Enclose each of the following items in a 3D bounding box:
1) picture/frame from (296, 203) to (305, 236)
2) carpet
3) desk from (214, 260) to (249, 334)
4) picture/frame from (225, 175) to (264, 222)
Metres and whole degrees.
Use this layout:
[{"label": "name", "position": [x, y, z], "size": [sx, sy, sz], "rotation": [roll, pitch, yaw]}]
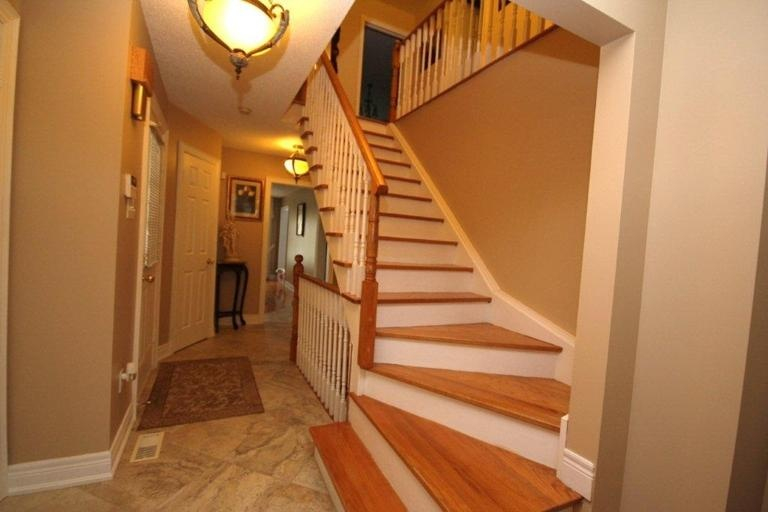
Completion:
[{"label": "picture/frame", "position": [-1.517, -0.658, 9.868], "size": [0.047, 0.676, 0.637], "rotation": [3, -2, -16]}, {"label": "carpet", "position": [-1.573, 1.170, 4.698], "size": [0.936, 0.291, 1.187], "rotation": [4, 1, -20]}, {"label": "desk", "position": [-1.897, 0.475, 6.678], "size": [0.447, 0.800, 0.331], "rotation": [1, 4, -40]}, {"label": "picture/frame", "position": [-1.780, -0.718, 6.796], "size": [0.587, 0.690, 0.047], "rotation": [-3, 6, -38]}]
